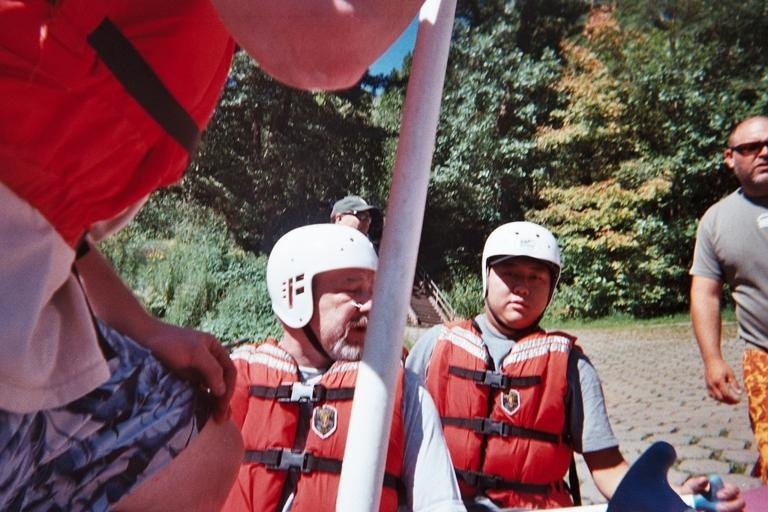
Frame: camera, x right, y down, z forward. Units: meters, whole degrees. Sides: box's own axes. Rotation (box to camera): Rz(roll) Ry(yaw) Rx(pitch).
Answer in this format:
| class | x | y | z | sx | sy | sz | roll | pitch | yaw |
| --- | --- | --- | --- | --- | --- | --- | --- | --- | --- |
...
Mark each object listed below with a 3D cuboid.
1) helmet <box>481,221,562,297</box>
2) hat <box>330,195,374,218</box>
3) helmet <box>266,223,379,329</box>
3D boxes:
| class | x | y | z | sx | sy | sz | roll | pitch | yaw |
| --- | --- | --- | --- | --- | --- | --- | --- | --- | --- |
| helmet | 0.697 | -0.040 | 3.471 | 0.270 | 0.357 | 0.415 | 10 | -17 | 3 |
| hat | -0.284 | -0.412 | 5.569 | 0.273 | 0.165 | 0.205 | -29 | -12 | 26 |
| helmet | -0.242 | 0.103 | 2.691 | 0.429 | 0.427 | 0.337 | -4 | -5 | 20 |
